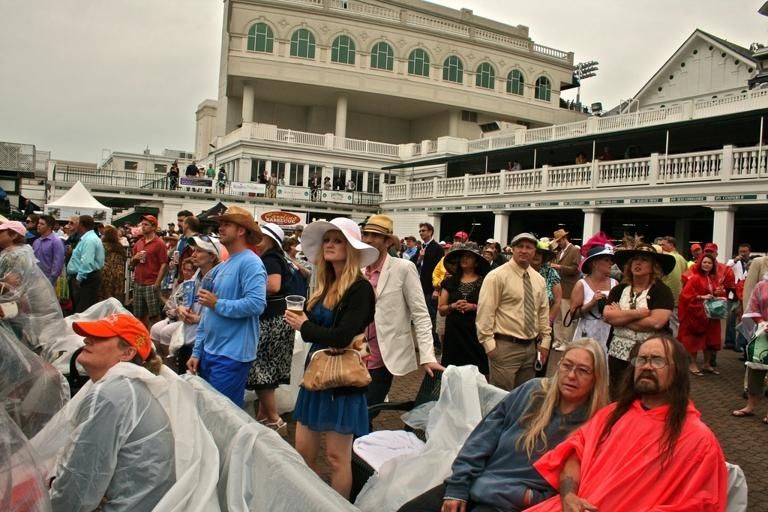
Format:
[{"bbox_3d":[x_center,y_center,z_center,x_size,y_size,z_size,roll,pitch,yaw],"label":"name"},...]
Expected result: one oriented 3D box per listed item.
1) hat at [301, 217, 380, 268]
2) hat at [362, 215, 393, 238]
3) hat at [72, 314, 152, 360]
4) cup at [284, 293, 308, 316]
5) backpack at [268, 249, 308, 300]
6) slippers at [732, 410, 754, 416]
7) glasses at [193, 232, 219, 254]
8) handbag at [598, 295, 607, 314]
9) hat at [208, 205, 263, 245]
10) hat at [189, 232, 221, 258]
[{"bbox_3d":[-0.457,-0.221,6.702,0.546,0.276,0.581,-9,-51,37],"label":"hat"},{"bbox_3d":[-0.068,-0.335,7.805,0.298,0.118,0.236,18,-10,-13],"label":"hat"},{"bbox_3d":[-2.318,0.629,5.966,0.595,0.293,0.367,31,-7,-21],"label":"hat"},{"bbox_3d":[-0.842,0.444,6.472,0.171,0.130,0.162,0,3,0],"label":"cup"},{"bbox_3d":[-1.274,0.260,9.006,0.398,0.722,0.741,-8,-8,33],"label":"backpack"},{"bbox_3d":[5.176,2.238,9.922,0.272,0.065,0.109,2,-6,-12],"label":"slippers"},{"bbox_3d":[-2.133,-0.123,8.353,0.220,0.111,0.308,17,-13,41],"label":"glasses"},{"bbox_3d":[2.785,0.615,8.758,0.068,0.208,0.154,10,-13,16],"label":"handbag"},{"bbox_3d":[-1.596,-0.359,7.588,0.397,0.186,0.482,3,-25,41],"label":"hat"},{"bbox_3d":[-2.143,-0.142,8.360,0.256,0.142,0.360,12,-17,44],"label":"hat"}]
